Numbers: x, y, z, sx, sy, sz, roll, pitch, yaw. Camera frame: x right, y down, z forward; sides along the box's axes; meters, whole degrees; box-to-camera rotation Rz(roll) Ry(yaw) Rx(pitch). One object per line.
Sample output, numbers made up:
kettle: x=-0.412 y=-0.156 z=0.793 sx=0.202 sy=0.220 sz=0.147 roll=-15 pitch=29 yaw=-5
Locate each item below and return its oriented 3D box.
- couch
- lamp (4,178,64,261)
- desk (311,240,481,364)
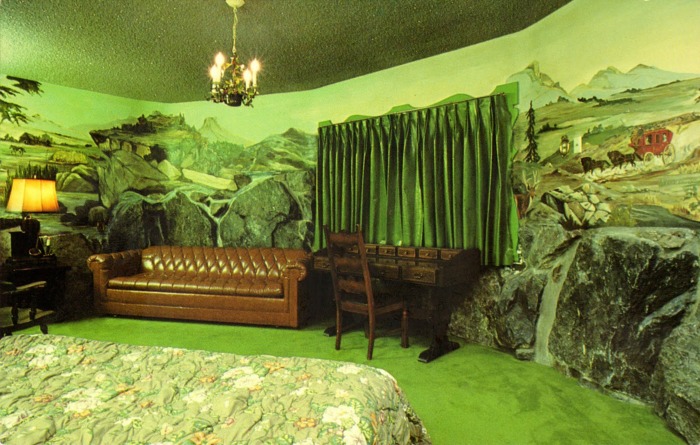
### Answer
couch: x=-2.013 y=0.813 z=6.412 sx=3.034 sy=0.889 sz=0.937 roll=2 pitch=2 yaw=9
lamp: x=-4.059 y=-0.054 z=5.780 sx=0.587 sy=1.022 sz=0.479 roll=5 pitch=16 yaw=21
desk: x=0.572 y=0.896 z=5.807 sx=2.017 sy=1.207 sz=1.159 roll=1 pitch=-3 yaw=41
